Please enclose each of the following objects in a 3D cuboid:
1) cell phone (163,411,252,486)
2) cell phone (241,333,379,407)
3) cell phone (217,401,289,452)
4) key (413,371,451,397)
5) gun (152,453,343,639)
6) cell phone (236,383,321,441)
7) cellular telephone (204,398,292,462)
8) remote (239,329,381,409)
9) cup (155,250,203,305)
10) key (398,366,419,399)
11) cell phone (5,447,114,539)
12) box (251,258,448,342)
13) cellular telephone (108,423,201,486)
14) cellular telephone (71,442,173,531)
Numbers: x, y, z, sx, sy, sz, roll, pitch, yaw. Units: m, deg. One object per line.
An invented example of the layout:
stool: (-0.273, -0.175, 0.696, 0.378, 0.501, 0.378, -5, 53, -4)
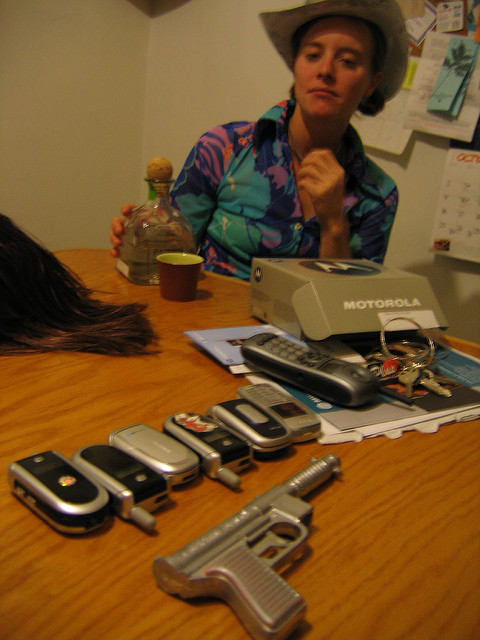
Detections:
cell phone: (-0.030, 0.099, 0.402, 0.036, 0.021, 0.075, 4, 15, -47)
cell phone: (0.062, 0.038, 0.584, 0.184, 0.044, 0.060, 20, 25, 38)
cell phone: (0.010, 0.092, 0.449, 0.045, 0.019, 0.079, -9, 25, -40)
key: (0.221, 0.075, 0.573, 0.041, 0.010, 0.026, 37, 45, 28)
gun: (0.030, 0.136, 0.332, 0.082, 0.032, 0.173, 10, 12, 29)
cell phone: (0.035, 0.088, 0.484, 0.045, 0.017, 0.095, -8, 22, -31)
cellular telephone: (0.018, 0.096, 0.487, 0.086, 0.040, 0.071, -10, 18, -43)
remote: (0.061, 0.036, 0.578, 0.185, 0.039, 0.060, 22, 30, 36)
cup: (-0.090, -0.078, 0.878, 0.098, 0.064, 0.087, -6, 24, -23)
key: (0.190, 0.072, 0.562, 0.019, 0.009, 0.033, 28, 42, -1)
cell phone: (-0.117, 0.112, 0.324, 0.068, 0.020, 0.040, 27, 30, 33)
box: (0.160, -0.032, 0.735, 0.221, 0.102, 0.242, -1, 12, -22)
cellular telephone: (-0.062, 0.099, 0.380, 0.066, 0.014, 0.035, 20, 19, 36)
cellular telephone: (-0.085, 0.114, 0.357, 0.091, 0.022, 0.043, 24, 20, 33)
